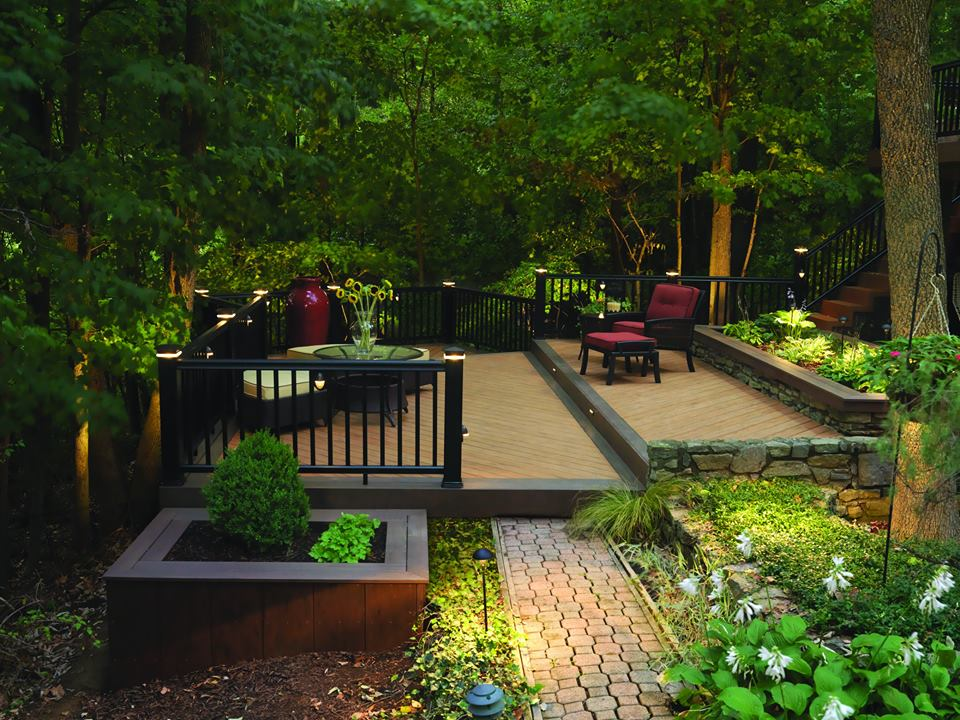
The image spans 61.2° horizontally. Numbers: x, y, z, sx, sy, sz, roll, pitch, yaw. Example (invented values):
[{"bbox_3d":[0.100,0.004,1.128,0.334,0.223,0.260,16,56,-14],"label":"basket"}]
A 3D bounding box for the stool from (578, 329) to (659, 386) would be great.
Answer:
[{"bbox_3d":[2.130,-0.276,12.005,0.894,0.651,1.321,-8,23,-3],"label":"stool"}]

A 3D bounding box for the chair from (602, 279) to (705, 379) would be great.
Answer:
[{"bbox_3d":[2.698,-0.538,12.478,0.989,1.459,1.012,4,2,-28],"label":"chair"}]
